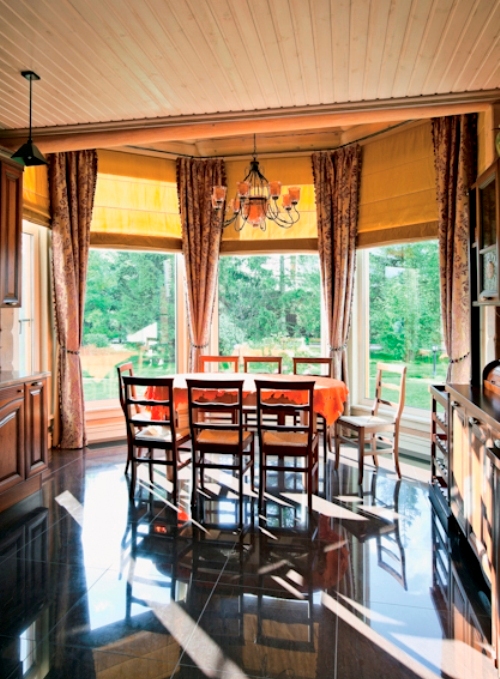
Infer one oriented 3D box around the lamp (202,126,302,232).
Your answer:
[{"bbox_3d":[0.036,-1.316,4.220,0.730,0.844,0.736,3,6,34],"label":"lamp"}]
